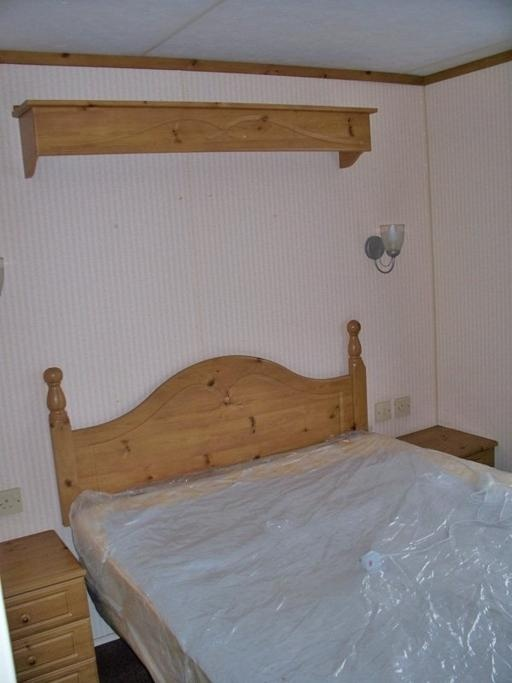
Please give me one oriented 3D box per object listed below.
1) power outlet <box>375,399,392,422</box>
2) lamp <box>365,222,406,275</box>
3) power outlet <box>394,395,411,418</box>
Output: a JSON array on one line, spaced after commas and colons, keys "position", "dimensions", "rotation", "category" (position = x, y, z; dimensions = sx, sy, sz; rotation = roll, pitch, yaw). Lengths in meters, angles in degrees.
[{"position": [0.645, 0.357, 2.952], "dimensions": [0.127, 0.109, 0.018], "rotation": [-4, 4, -36], "category": "power outlet"}, {"position": [0.645, -0.441, 2.815], "dimensions": [0.187, 0.208, 0.119], "rotation": [-8, 8, -33], "category": "lamp"}, {"position": [0.763, 0.343, 3.030], "dimensions": [0.119, 0.111, 0.014], "rotation": [-8, 11, -35], "category": "power outlet"}]
